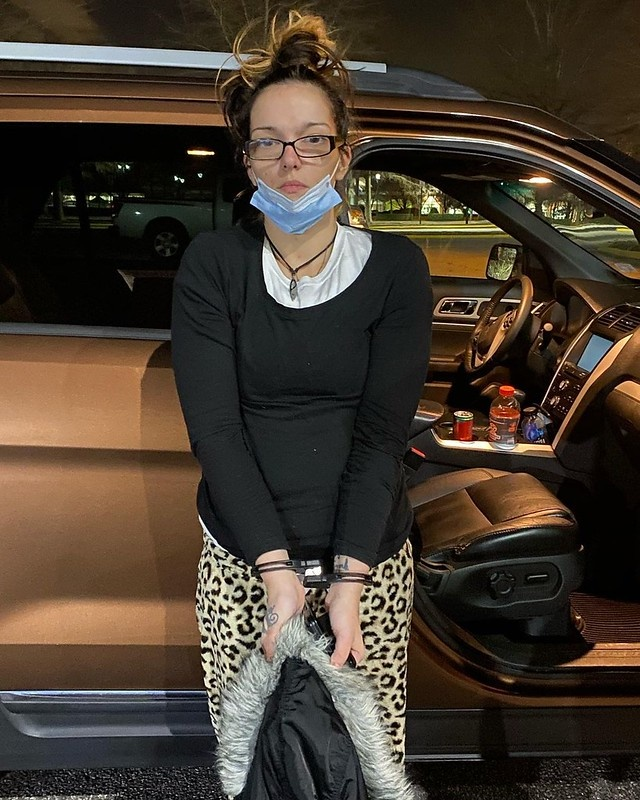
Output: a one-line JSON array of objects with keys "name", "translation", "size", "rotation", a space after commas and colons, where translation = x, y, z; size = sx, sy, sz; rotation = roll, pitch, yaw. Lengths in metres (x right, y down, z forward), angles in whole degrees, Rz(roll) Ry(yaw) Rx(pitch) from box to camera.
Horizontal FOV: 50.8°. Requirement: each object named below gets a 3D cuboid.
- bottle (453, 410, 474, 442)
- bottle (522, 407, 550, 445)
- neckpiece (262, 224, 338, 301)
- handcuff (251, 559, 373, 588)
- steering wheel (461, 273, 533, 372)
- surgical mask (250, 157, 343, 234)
[{"name": "bottle", "translation": [0.517, 0.091, 2.428], "size": [0.094, 0.148, 0.082], "rotation": [-3, 74, 5]}, {"name": "bottle", "translation": [0.807, 0.095, 2.506], "size": [0.094, 0.098, 0.155], "rotation": [9, 68, -46]}, {"name": "neckpiece", "translation": [-0.031, -0.223, 1.096], "size": [0.117, 0.110, 0.103], "rotation": [2, 93, 1]}, {"name": "handcuff", "translation": [-0.007, 0.253, 0.997], "size": [0.117, 0.070, 0.021], "rotation": [13, 77, -24]}, {"name": "steering wheel", "translation": [0.772, -0.322, 2.901], "size": [0.113, 0.399, 0.393], "rotation": [34, 63, -18]}, {"name": "surgical mask", "translation": [-0.040, -0.321, 1.063], "size": [0.118, 0.051, 0.107], "rotation": [0, 38, 2]}]
